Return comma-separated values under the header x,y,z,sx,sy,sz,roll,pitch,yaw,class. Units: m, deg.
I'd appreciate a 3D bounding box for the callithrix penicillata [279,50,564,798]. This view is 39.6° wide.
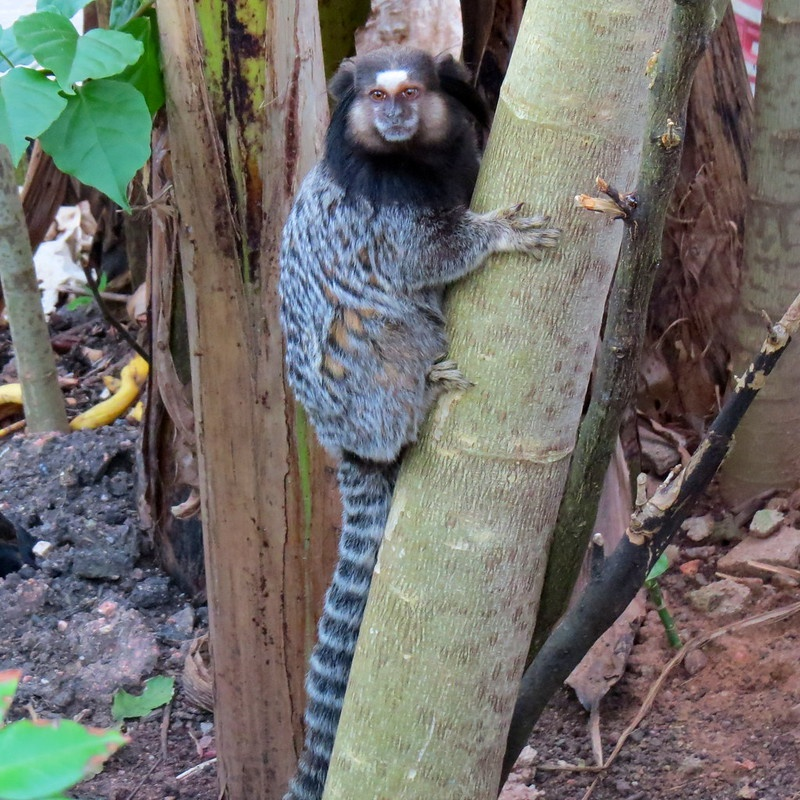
x,y,z,sx,sy,sz,roll,pitch,yaw,class
-0.073,-0.008,2.970,0.550,1.626,1.283,5,31,-7,callithrix penicillata
